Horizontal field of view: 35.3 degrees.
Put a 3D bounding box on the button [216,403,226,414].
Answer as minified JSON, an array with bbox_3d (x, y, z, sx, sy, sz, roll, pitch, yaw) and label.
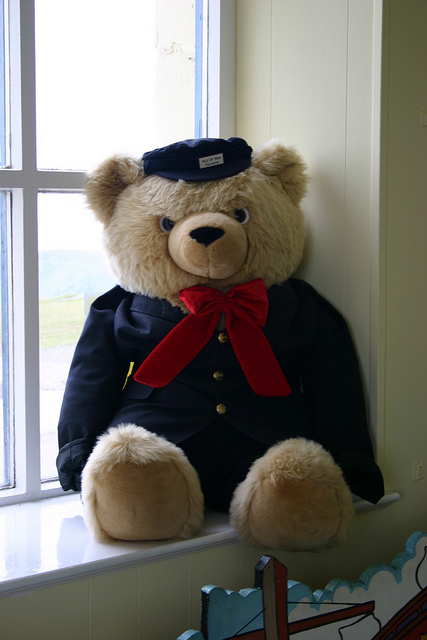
[{"bbox_3d":[0.016,0.177,1.329,0.016,0.016,0.021,5,15,19],"label":"button"}]

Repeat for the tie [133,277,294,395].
[{"bbox_3d":[0.010,0.029,1.353,0.331,0.238,0.041,6,3,12],"label":"tie"}]

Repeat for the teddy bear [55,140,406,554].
[{"bbox_3d":[-0.009,0.050,1.495,0.888,0.922,0.555,-3,15,-11],"label":"teddy bear"}]

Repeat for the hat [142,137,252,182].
[{"bbox_3d":[-0.037,-0.368,1.457,0.244,0.064,0.247,-5,28,-7],"label":"hat"}]
